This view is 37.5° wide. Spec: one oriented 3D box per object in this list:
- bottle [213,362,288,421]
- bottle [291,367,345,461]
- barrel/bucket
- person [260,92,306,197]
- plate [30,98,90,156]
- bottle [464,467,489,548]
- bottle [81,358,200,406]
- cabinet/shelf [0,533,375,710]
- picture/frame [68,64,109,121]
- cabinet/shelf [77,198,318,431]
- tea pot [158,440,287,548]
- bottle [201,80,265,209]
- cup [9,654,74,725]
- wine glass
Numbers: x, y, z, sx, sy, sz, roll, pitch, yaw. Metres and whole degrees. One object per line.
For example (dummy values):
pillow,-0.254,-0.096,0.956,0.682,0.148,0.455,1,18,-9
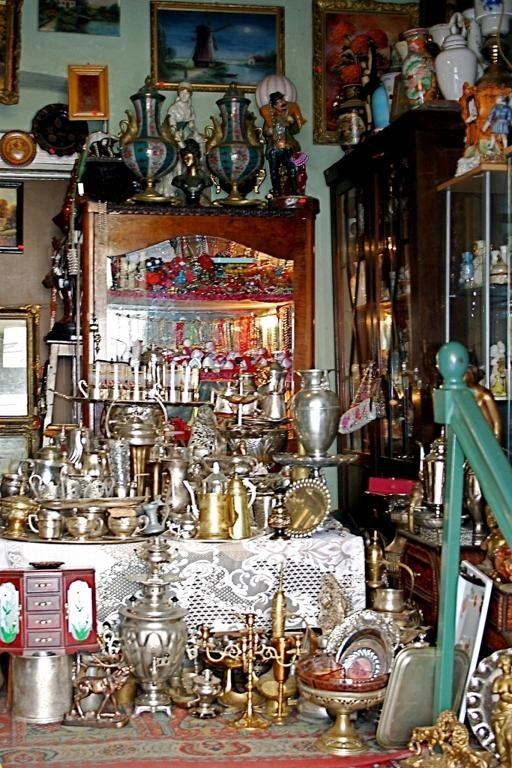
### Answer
bottle,-0.026,0.024,2.820,0.216,0.185,0.256,-1,-3,3
bottle,0.190,0.096,2.527,0.163,0.297,0.229,1,-2,16
barrel/bucket,-0.549,0.792,2.022,0.186,0.170,0.180,0,-7,0
person,0.174,-1.490,4.673,0.267,0.672,0.212,1,-2,2
plate,-1.415,-1.812,5.346,0.420,0.365,0.082,-13,20,-17
bottle,0.687,0.379,2.383,0.063,0.240,0.168,2,-2,-7
bottle,-0.460,-0.004,3.314,0.387,0.109,0.357,1,-1,0
cabinet/shelf,-0.183,0.575,2.134,1.034,0.265,0.251,2,-2,-10
picture/frame,-1.077,-1.874,4.835,0.251,0.399,0.189,2,-2,-9
cabinet/shelf,-0.354,-0.425,4.126,1.674,1.378,0.521,-1,-1,-10
tea pot,-0.094,0.361,2.370,0.400,0.242,0.226,3,-1,7
bottle,-0.124,-1.426,4.529,0.349,0.719,0.348,2,-2,0
cup,-0.557,0.789,2.023,0.191,0.173,0.179,0,-6,0
wine glass,0.191,0.731,1.748,0.222,0.151,0.192,0,-8,3
